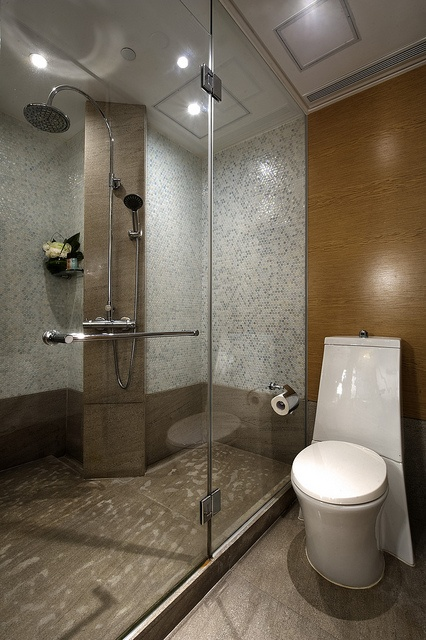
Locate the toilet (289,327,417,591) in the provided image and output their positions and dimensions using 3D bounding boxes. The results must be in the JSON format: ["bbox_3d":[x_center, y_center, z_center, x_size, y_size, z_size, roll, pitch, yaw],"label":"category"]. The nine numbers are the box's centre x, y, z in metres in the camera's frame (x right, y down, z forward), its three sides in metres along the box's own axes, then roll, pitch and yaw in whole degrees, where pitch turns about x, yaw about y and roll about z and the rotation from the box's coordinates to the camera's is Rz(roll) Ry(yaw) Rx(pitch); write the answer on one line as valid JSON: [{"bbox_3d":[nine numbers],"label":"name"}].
[{"bbox_3d":[0.543,0.551,1.681,0.441,0.869,0.620,5,11,44],"label":"toilet"}]
